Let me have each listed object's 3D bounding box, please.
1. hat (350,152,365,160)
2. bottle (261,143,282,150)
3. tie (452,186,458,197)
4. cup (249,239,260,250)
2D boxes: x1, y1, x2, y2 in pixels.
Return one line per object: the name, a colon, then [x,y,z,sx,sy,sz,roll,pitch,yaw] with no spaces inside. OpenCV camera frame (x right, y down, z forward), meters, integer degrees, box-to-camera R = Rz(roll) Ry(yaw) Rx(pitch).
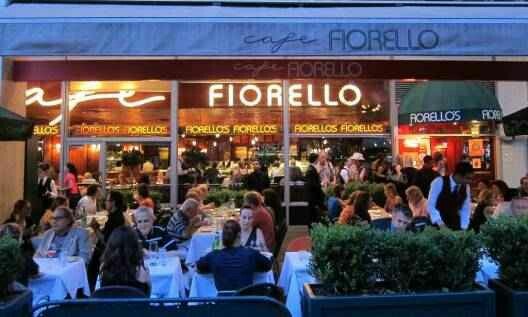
hat: [2.812,-0.030,14.709,0.317,0.116,0.287,10,-5,-23]
bottle: [0.211,-0.353,15.120,0.645,0.214,0.113,-1,-3,-1]
tie: [3.585,0.624,9.307,0.052,0.229,0.062,14,-4,12]
cup: [-0.165,1.536,8.755,0.168,0.164,0.165,0,-7,0]
